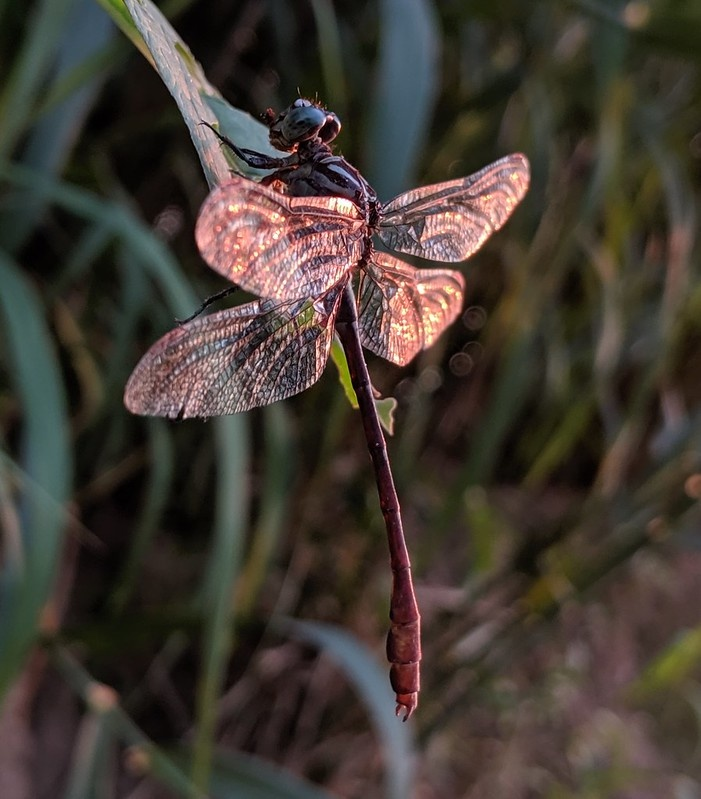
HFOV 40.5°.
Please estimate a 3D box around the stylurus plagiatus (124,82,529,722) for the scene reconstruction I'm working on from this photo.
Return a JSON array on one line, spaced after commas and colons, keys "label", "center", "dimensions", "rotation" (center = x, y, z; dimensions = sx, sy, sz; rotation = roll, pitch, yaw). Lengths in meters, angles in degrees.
[{"label": "stylurus plagiatus", "center": [0.041, -0.144, 1.168], "dimensions": [0.375, 0.388, 0.162], "rotation": [-19, 30, -3]}]
